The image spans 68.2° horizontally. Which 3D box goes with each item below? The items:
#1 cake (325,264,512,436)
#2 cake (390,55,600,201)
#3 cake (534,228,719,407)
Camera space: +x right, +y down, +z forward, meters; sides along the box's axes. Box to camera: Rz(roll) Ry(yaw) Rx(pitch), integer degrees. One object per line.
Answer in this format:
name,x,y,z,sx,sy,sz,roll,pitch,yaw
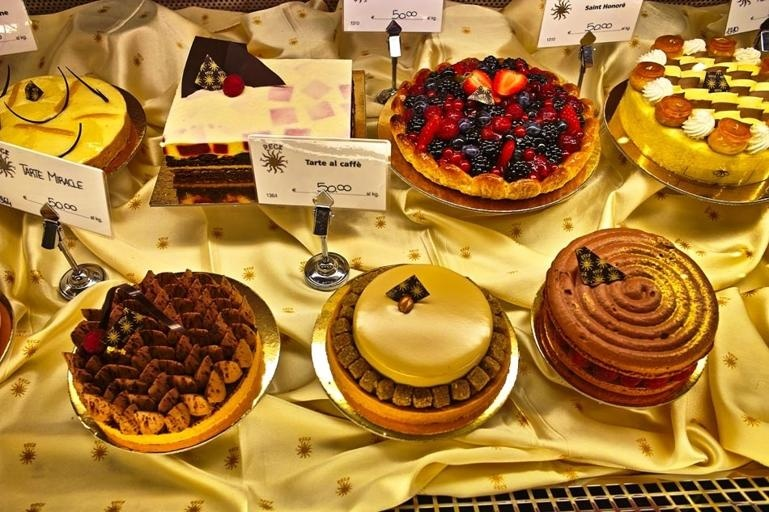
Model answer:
cake,0.101,0.376,2.365,0.885,0.472,0.610,6,40,13
cake,0.578,-0.713,3.059,1.137,0.394,0.954,-3,39,1
cake,1.000,0.322,2.607,0.734,0.411,0.706,-9,54,-3
